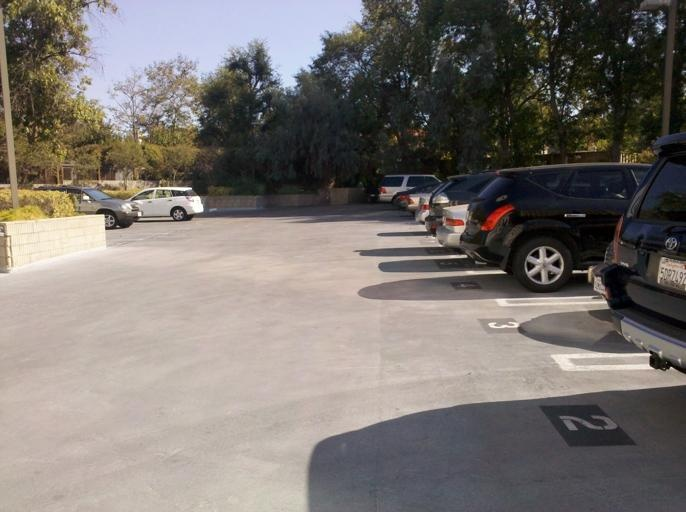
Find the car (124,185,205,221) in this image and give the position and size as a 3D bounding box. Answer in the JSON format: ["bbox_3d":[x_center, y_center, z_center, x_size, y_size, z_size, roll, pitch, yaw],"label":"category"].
[{"bbox_3d":[-9.529,-2.826,31.532,3.246,1.350,1.819,2,5,-3],"label":"car"}]

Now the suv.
[{"bbox_3d":[-12.467,-2.238,27.713,5.324,2.230,2.146,-1,6,3],"label":"suv"}]
